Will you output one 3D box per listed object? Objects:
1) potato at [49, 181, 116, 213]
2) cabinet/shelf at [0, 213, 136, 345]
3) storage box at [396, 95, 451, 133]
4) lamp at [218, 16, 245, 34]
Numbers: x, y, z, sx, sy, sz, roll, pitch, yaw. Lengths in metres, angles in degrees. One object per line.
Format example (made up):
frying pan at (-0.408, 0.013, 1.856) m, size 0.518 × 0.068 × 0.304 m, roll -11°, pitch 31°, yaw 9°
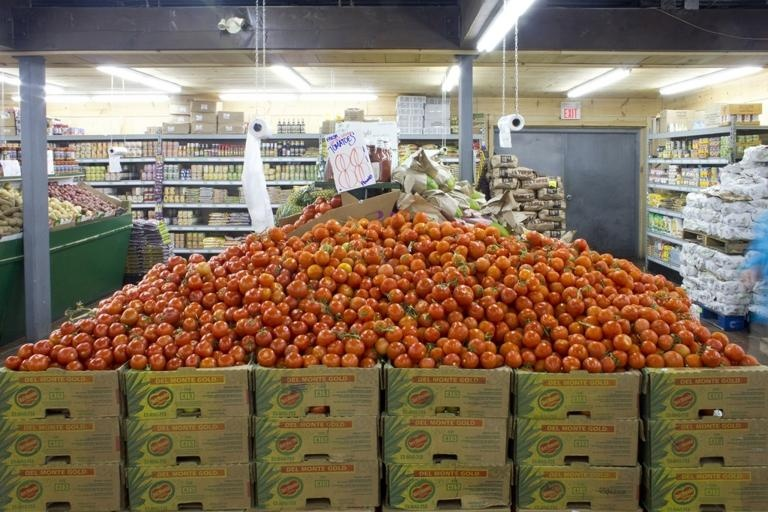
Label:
potato at (-4.480, -0.884, 8.407) m, size 0.623 × 0.200 × 0.582 m, roll 10°, pitch 13°, yaw -38°
cabinet/shelf at (-3.585, 0.224, 6.201) m, size 0.523 × 0.532 × 1.597 m, roll 3°, pitch 11°, yaw 5°
storage box at (0.721, -2.584, 10.143) m, size 0.941 × 0.643 × 0.333 m, roll 1°, pitch 12°, yaw 4°
lamp at (-1.565, -2.396, 5.762) m, size 0.262 × 0.168 × 0.095 m, roll 3°, pitch 12°, yaw 15°
